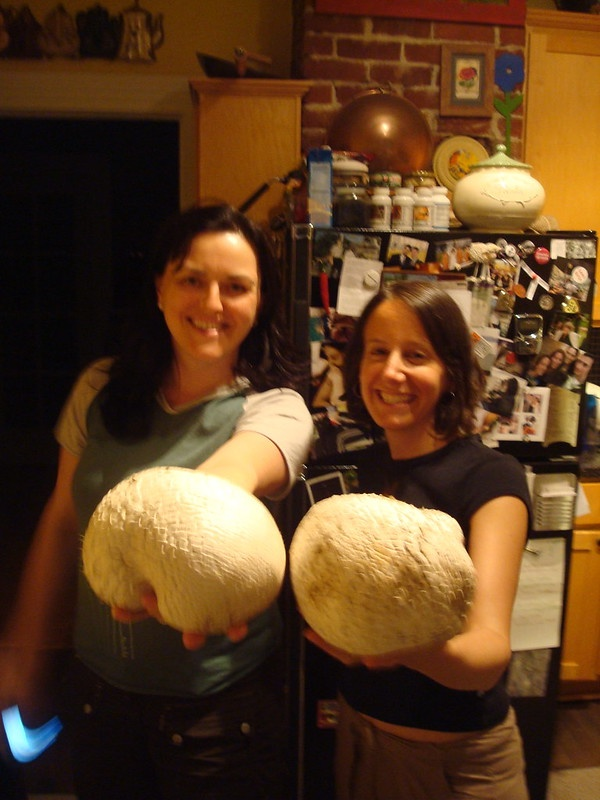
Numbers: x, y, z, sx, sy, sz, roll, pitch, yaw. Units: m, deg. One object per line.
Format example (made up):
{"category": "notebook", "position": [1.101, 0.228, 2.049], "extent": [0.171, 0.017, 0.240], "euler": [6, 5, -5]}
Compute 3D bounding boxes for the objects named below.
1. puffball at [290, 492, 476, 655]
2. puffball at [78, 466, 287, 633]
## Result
{"category": "puffball", "position": [0.048, 0.085, 0.343], "extent": [0.066, 0.060, 0.090], "euler": [-6, -20, 44]}
{"category": "puffball", "position": [-0.057, 0.067, 0.356], "extent": [0.089, 0.057, 0.079], "euler": [7, -30, 7]}
